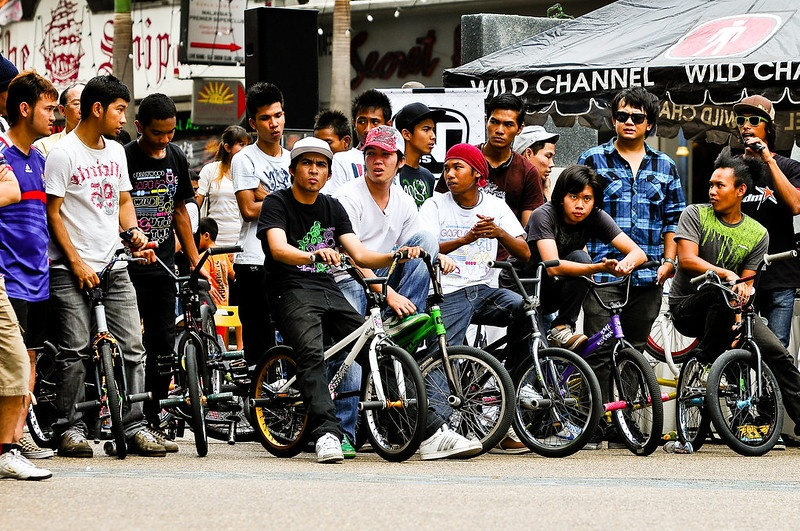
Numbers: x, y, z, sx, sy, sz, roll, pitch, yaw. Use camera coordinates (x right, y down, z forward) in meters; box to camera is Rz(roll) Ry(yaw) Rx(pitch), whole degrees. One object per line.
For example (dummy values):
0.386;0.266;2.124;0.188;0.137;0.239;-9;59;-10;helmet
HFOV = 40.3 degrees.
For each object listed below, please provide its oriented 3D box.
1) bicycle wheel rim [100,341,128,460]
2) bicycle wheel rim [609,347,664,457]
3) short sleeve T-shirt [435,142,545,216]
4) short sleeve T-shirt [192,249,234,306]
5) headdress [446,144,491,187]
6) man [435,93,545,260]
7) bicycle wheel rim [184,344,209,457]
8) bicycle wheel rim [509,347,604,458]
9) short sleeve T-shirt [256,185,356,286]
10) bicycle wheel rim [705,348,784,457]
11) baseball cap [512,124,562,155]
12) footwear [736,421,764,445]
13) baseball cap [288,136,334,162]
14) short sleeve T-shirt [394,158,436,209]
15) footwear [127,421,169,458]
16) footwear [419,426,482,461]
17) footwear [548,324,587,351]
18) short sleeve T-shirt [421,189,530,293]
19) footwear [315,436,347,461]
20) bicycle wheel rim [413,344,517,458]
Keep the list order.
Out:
-2.266;1.085;8.640;0.206;0.917;0.245;1;-3;-22;bicycle wheel rim
2.015;1.180;9.382;0.460;0.949;0.541;-1;-3;10;bicycle wheel rim
0.801;-0.759;9.935;0.893;0.655;0.326;4;-8;-1;short sleeve T-shirt
-1.876;0.139;10.878;0.211;0.579;0.668;-5;-4;35;short sleeve T-shirt
0.561;-0.884;9.427;0.324;0.288;0.356;16;10;-41;headdress
0.858;-0.790;10.267;1.197;1.567;1.008;7;1;12;man
-1.709;1.133;9.103;0.178;0.927;0.387;0;-3;-12;bicycle wheel rim
1.287;1.154;9.035;0.966;0.918;0.503;-10;-11;44;bicycle wheel rim
-0.735;-0.221;8.813;0.894;0.790;0.490;0;-5;-29;short sleeve T-shirt
2.985;1.172;9.370;1.021;0.996;0.455;1;-5;-18;bicycle wheel rim
1.446;-1.364;11.768;0.532;0.245;0.378;-15;-2;19;baseball cap
3.020;1.458;9.407;0.206;0.078;0.280;0;-1;11;footwear
-0.711;-0.936;8.745;0.322;0.189;0.395;3;-9;-20;baseball cap
0.190;-0.743;10.280;0.423;0.218;0.452;-6;-45;12;short sleeve T-shirt
-2.096;1.477;8.945;0.427;0.168;0.159;-3;-5;35;footwear
0.399;1.455;8.804;0.539;0.260;0.214;-3;-4;3;footwear
1.469;0.639;9.572;0.160;0.173;0.369;-19;7;-40;footwear
0.632;-0.170;9.390;0.914;0.864;0.512;-4;-6;-18;short sleeve T-shirt
-0.547;1.427;8.464;0.207;0.237;0.183;0;-3;-1;footwear
0.486;1.102;8.706;0.952;0.886;0.267;6;12;21;bicycle wheel rim
